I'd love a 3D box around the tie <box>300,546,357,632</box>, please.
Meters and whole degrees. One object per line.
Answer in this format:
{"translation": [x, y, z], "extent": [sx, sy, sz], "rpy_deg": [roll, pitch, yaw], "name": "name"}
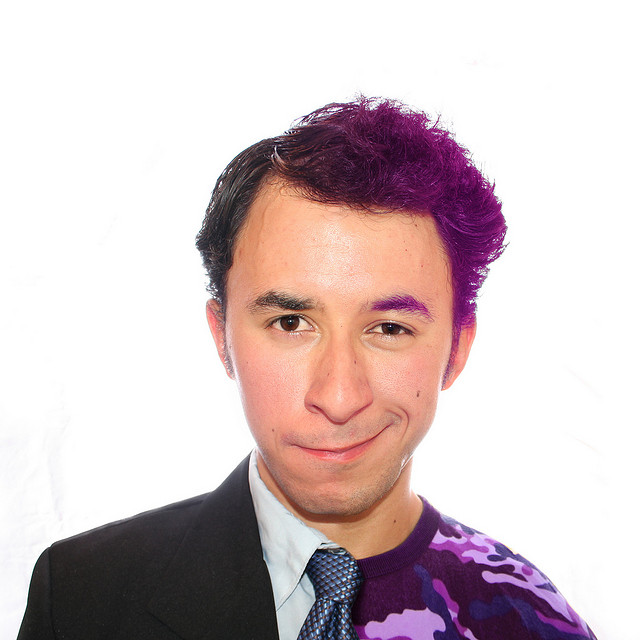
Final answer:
{"translation": [0.027, 0.968, 2.578], "extent": [0.252, 0.300, 0.133], "rpy_deg": [-12, -25, -7], "name": "tie"}
